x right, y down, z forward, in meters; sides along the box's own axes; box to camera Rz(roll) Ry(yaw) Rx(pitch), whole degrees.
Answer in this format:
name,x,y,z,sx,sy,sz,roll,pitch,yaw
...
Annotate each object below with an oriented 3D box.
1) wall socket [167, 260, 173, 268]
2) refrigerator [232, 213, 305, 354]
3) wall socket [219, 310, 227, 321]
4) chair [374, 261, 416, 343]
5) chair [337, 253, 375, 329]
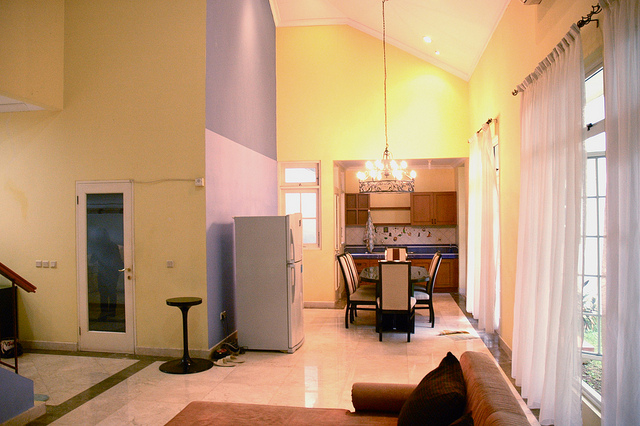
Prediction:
name,x,y,z,sx,sy,sz,roll,pitch,yaw
wall socket,-2.379,0.807,7.784,0.097,0.098,0.024,2,2,6
refrigerator,-0.809,1.150,8.474,0.910,2.048,1.456,1,0,4
wall socket,-1.598,1.681,8.108,0.087,0.171,0.166,-3,-5,8
chair,1.365,1.496,8.652,0.767,1.388,0.891,0,0,0
chair,0.833,1.436,9.490,0.789,1.391,0.749,-3,8,22
